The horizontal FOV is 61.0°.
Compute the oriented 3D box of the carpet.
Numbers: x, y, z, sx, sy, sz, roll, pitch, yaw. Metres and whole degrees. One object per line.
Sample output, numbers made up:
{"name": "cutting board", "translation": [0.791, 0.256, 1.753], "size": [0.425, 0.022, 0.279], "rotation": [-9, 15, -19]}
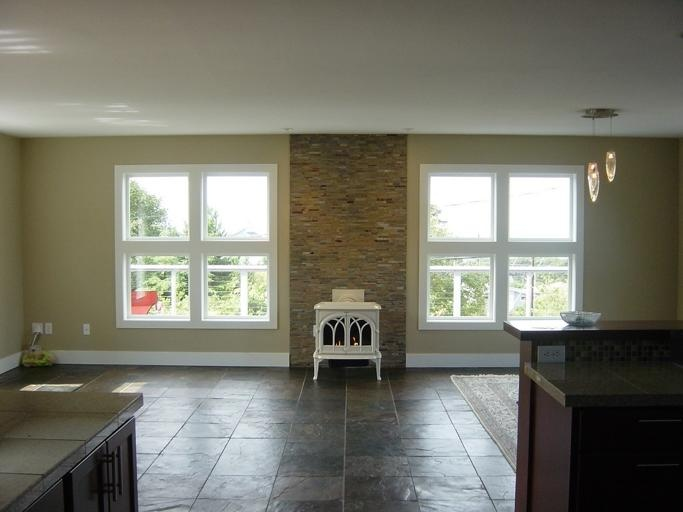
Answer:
{"name": "carpet", "translation": [1.307, 1.410, 5.462], "size": [0.698, 0.095, 2.103], "rotation": [2, 9, 15]}

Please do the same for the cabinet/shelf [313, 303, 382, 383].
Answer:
{"name": "cabinet/shelf", "translation": [0.050, 0.950, 6.321], "size": [0.797, 0.774, 0.499], "rotation": [0, -12, 3]}

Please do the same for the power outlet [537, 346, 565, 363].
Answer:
{"name": "power outlet", "translation": [1.284, 0.603, 3.553], "size": [0.194, 0.114, 0.104], "rotation": [0, -3, 1]}
